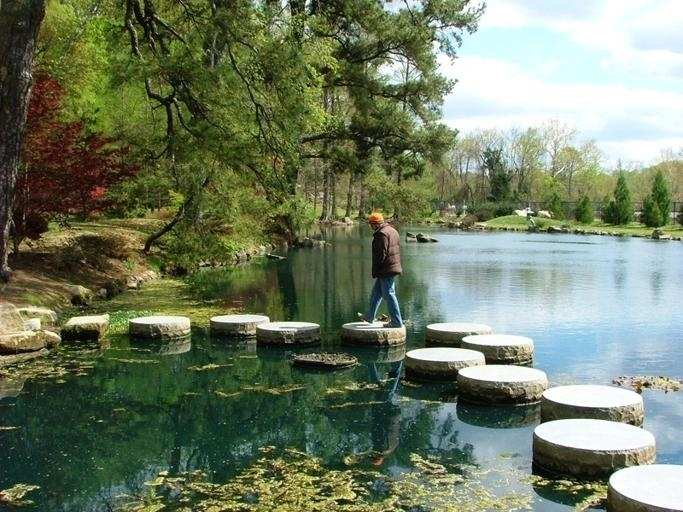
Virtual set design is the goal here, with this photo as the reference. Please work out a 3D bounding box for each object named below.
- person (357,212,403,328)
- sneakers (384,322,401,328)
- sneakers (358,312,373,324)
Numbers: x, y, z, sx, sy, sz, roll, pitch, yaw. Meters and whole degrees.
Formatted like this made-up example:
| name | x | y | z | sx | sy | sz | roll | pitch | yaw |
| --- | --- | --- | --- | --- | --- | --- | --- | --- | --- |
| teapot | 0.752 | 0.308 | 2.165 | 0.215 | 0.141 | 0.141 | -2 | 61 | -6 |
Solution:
| name | x | y | z | sx | sy | sz | roll | pitch | yaw |
| --- | --- | --- | --- | --- | --- | --- | --- | --- | --- |
| person | 0.758 | 0.284 | 12.053 | 0.751 | 2.178 | 0.651 | -3 | 11 | -15 |
| sneakers | 0.947 | 1.305 | 12.273 | 0.334 | 0.142 | 0.114 | 5 | 4 | 17 |
| sneakers | 0.395 | 1.221 | 12.496 | 0.143 | 0.178 | 0.417 | 1 | 2 | -19 |
